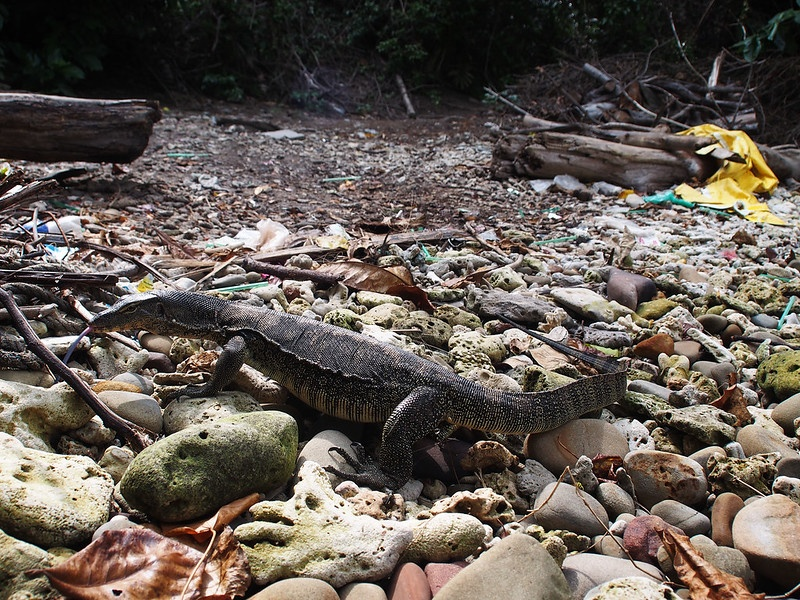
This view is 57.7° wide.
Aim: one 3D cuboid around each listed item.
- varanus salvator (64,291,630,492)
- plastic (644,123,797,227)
[{"bbox_3d":[-0.451,0.301,4.647,3.262,0.678,1.421,11,15,13],"label":"varanus salvator"},{"bbox_3d":[4.535,-1.763,10.823,2.021,0.528,1.499,15,43,22],"label":"plastic"}]
